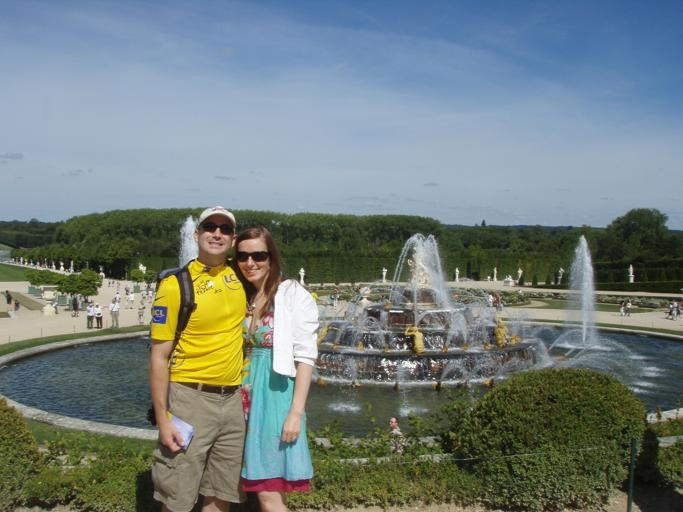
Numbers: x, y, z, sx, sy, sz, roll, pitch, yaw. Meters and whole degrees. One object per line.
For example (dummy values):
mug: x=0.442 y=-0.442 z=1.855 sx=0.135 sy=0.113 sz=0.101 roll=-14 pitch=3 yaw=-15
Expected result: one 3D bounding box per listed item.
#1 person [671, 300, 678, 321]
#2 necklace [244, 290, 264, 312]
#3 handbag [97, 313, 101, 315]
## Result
person: x=17.228 y=2.762 z=26.519 sx=0.333 sy=0.816 sz=0.872 roll=-1 pitch=-2 yaw=31
necklace: x=-0.618 y=0.325 z=3.701 sx=0.116 sy=0.146 sz=0.055 roll=5 pitch=-35 yaw=42
handbag: x=-9.973 y=2.342 z=21.110 sx=0.096 sy=0.061 sz=0.092 roll=0 pitch=-2 yaw=-4
